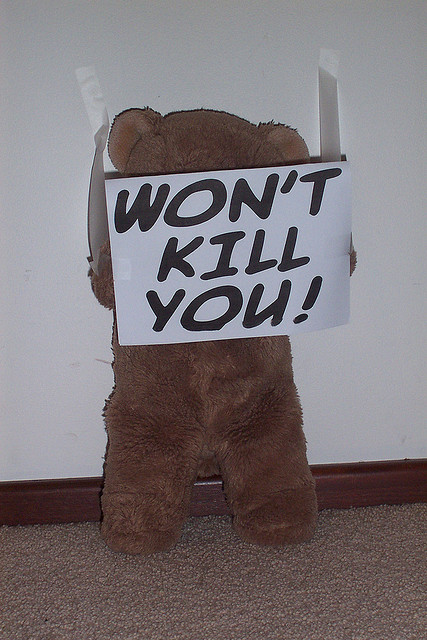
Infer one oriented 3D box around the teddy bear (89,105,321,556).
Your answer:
[{"bbox_3d":[-0.021,0.023,0.805,0.297,0.512,0.380,-1,30,8],"label":"teddy bear"}]
